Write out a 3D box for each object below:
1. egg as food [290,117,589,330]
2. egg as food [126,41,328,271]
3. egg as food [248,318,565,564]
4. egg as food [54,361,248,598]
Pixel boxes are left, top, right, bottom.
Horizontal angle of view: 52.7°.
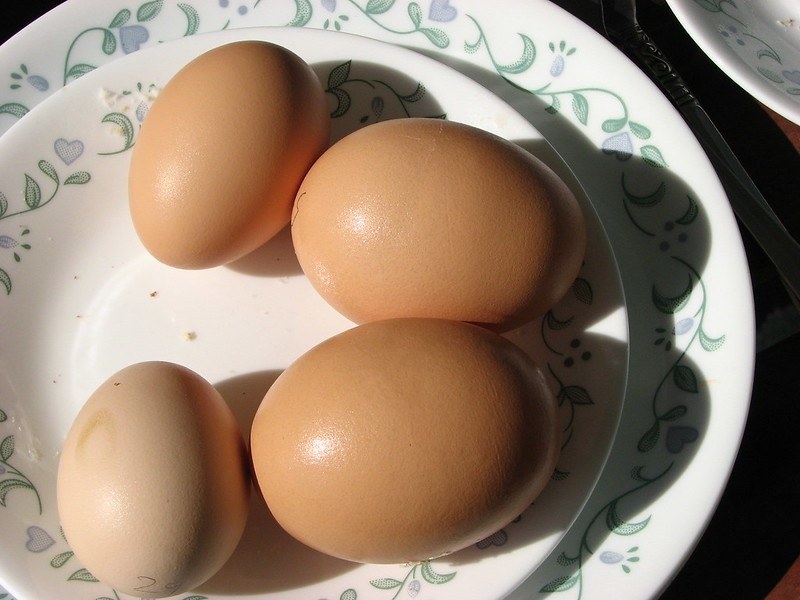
[{"bbox_3d":[0.046,-0.084,0.966,0.274,0.232,0.260,9,64,9],"label":"egg as food"},{"bbox_3d":[-0.202,-0.181,1.098,0.202,0.212,0.300,29,83,30],"label":"egg as food"},{"bbox_3d":[-0.005,0.168,0.956,0.292,0.246,0.281,-3,65,-15],"label":"egg as food"},{"bbox_3d":[-0.293,0.196,1.041,0.184,0.204,0.293,-14,58,26],"label":"egg as food"}]
